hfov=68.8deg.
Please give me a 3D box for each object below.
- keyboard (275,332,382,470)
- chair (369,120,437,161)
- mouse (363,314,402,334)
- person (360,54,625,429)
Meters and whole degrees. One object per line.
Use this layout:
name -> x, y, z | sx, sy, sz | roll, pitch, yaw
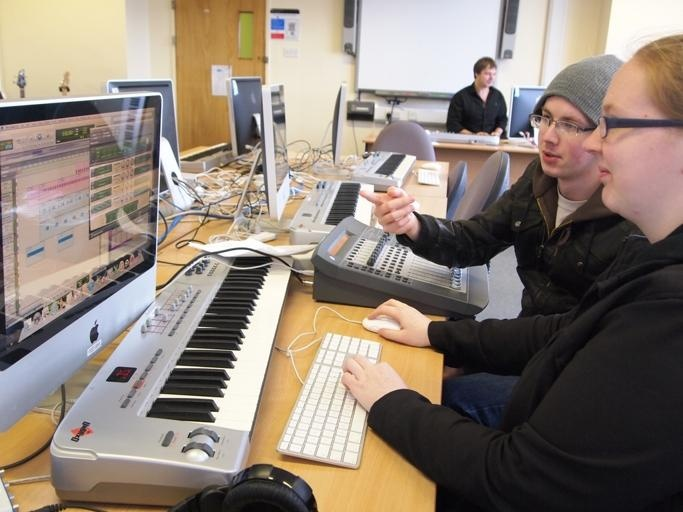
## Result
keyboard -> -0.019, 0.252, 0.978 | 0.140, 0.045, 0.408 | 7, 27, 0
chair -> 0.464, -0.908, 3.720 | 0.300, 0.382, 0.345 | 0, 28, 0
mouse -> 0.103, 0.184, 1.361 | 0.069, 0.017, 0.052 | 0, 22, -6
person -> 0.357, -0.272, 2.138 | 1.098, 1.794, 0.805 | 2, 19, -3
